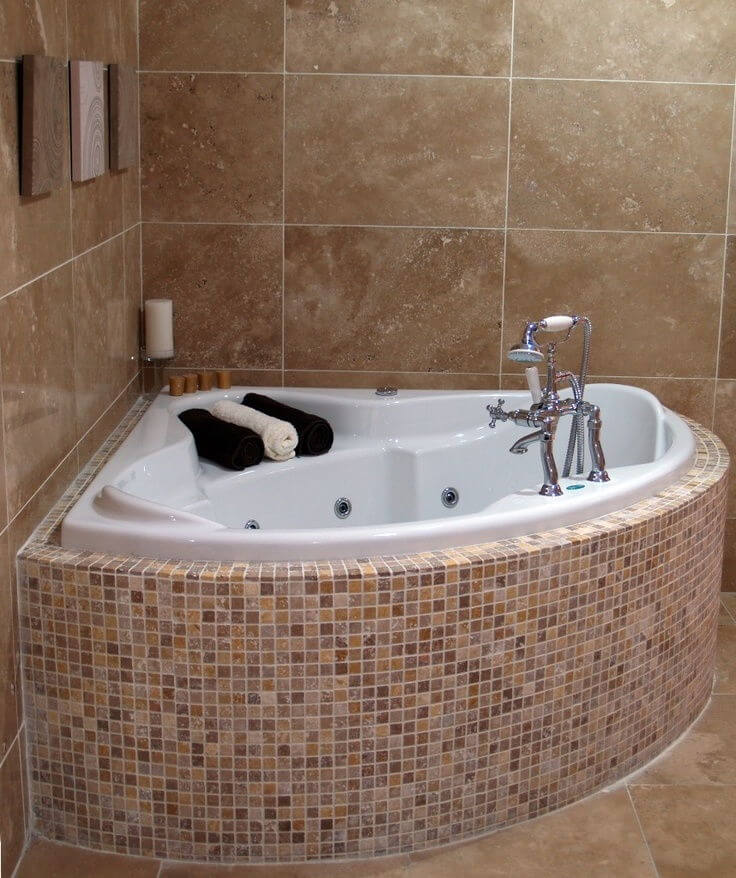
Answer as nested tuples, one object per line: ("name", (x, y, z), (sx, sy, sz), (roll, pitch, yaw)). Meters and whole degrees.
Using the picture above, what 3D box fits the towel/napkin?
("towel/napkin", (-0.304, -0.020, 2.732), (0.260, 0.098, 0.260), (-10, 25, -41))

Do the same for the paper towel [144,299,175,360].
("paper towel", (-0.651, -0.343, 3.064), (0.095, 0.197, 0.137), (-2, 13, -13))
